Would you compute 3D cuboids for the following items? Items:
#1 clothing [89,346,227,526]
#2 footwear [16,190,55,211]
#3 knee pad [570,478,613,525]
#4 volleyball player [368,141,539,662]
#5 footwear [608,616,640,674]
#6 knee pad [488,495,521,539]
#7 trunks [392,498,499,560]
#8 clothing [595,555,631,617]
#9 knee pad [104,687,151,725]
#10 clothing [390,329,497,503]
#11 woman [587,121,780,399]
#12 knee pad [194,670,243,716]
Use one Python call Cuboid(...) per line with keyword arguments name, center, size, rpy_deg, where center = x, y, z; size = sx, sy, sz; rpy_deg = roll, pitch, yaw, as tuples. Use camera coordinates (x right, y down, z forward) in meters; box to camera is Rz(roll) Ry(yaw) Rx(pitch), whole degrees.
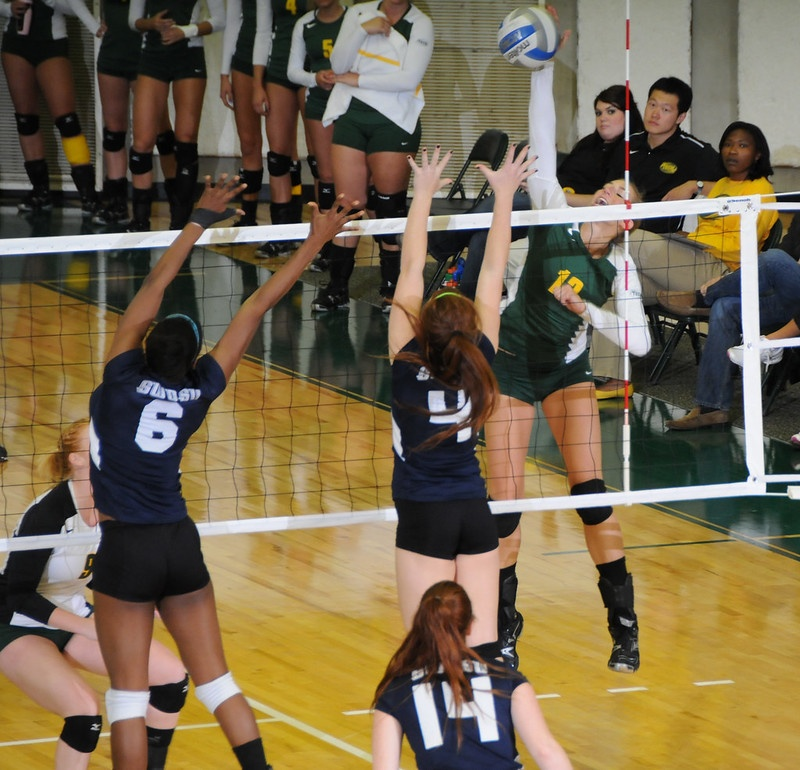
Cuboid(name="clothing", center=(-0.696, 0.146, 2.630), size=(0.348, 0.494, 0.163), rpy_deg=(4, 5, -14))
Cuboid(name="footwear", center=(-4.347, -2.148, 10.893), size=(0.533, 0.247, 0.205), rpy_deg=(2, 12, -7))
Cuboid(name="knee pad", center=(0.754, 0.451, 3.721), size=(0.203, 0.153, 0.192), rpy_deg=(-12, 36, 16))
Cuboid(name="volleyball player", center=(0.291, 0.221, 2.897), size=(0.632, 1.829, 0.499), rpy_deg=(-6, 13, 0))
Cuboid(name="footwear", center=(0.887, 1.022, 3.641), size=(0.140, 0.214, 0.132), rpy_deg=(6, 5, 12))
Cuboid(name="knee pad", center=(0.421, 0.525, 3.643), size=(0.168, 0.118, 0.129), rpy_deg=(2, 26, 2))
Cuboid(name="trunks", center=(0.148, 0.431, 2.900), size=(0.428, 0.162, 0.201), rpy_deg=(-2, 15, -9))
Cuboid(name="clothing", center=(0.862, 0.801, 3.672), size=(0.165, 0.237, 0.065), rpy_deg=(6, 5, 9))
Cuboid(name="knee pad", center=(-0.751, 0.871, 2.513), size=(0.133, 0.072, 0.112), rpy_deg=(2, -2, 11))
Cuboid(name="clothing", center=(0.122, 0.106, 2.814), size=(0.328, 0.528, 0.208), rpy_deg=(5, 5, 1))
Cuboid(name="woman", center=(2.043, -1.041, 6.799), size=(1.577, 1.656, 1.444), rpy_deg=(16, 29, 29))
Cuboid(name="knee pad", center=(-0.534, 0.889, 2.716), size=(0.148, 0.092, 0.131), rpy_deg=(-28, 5, -9))
